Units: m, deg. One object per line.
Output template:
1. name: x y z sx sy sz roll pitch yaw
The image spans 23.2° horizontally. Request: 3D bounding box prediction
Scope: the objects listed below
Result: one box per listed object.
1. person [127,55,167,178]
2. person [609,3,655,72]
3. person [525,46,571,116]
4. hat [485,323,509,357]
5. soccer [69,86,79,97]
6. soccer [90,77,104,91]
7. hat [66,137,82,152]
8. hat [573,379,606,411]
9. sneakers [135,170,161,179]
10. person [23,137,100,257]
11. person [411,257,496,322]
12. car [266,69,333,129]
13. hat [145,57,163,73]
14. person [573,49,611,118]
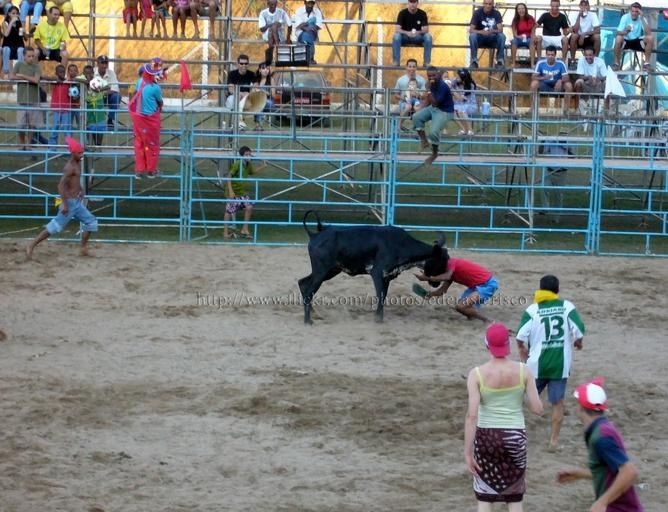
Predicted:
1. person: -3.666 -2.677 31.606 0.646 2.363 0.768 0 13 -7
2. person: 6.768 -4.954 36.572 0.877 1.524 0.830 1 13 -2
3. person: 4.652 -3.802 34.860 0.794 1.390 0.944 -2 -7 31
4. hat: 2.405 1.176 23.476 0.365 0.281 0.530 -10 50 -5
5. soccer: -5.214 -3.291 32.581 0.190 0.225 0.304 -2 14 -13
6. soccer: -4.786 -3.495 32.887 0.201 0.281 0.371 11 17 36
7. hat: -4.804 -2.026 30.058 0.220 0.298 0.390 -4 -9 -1
8. hat: 3.699 1.960 23.157 0.344 0.381 0.500 -4 44 -20
9. sneakers: -3.672 -1.600 31.813 0.537 0.230 0.180 -3 3 -2
10. person: -5.089 -1.213 30.765 1.164 2.264 1.571 -1 13 -9
11. person: 2.110 0.561 28.221 1.577 1.038 1.129 9 4 13
12. car: -0.718 -3.432 36.029 0.949 0.732 2.175 0 17 -1
13. hat: -3.493 -3.681 31.415 0.344 0.327 0.478 0 13 -7
14. person: 5.537 -3.771 34.913 0.673 1.353 2.121 4 13 8
